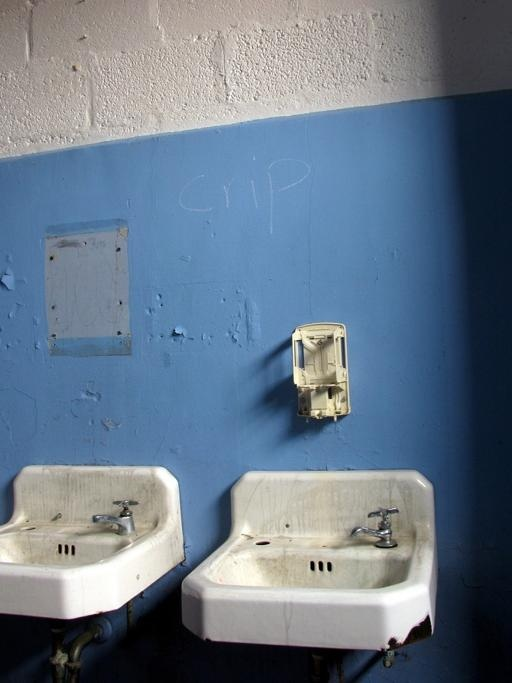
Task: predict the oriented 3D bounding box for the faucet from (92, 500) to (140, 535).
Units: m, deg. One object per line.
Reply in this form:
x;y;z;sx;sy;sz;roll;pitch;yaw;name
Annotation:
-0.304;0.382;1.624;0.060;0.086;0.114;-4;-9;39;faucet

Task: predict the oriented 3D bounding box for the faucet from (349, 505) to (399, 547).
0.242;0.372;1.472;0.101;0.090;0.060;7;-12;-23;faucet

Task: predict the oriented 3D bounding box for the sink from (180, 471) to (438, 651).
0.117;0.435;1.358;0.429;0.256;0.403;-4;2;14;sink
